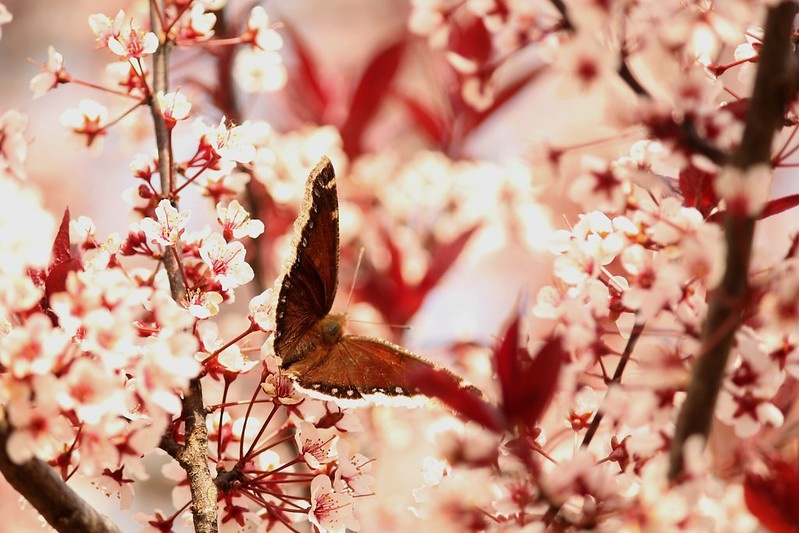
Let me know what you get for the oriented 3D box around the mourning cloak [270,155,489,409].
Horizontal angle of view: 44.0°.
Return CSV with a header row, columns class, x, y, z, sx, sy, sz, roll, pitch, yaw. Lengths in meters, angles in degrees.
class,x,y,z,sx,sy,sz,roll,pitch,yaw
mourning cloak,-0.140,0.131,2.439,0.243,0.765,0.433,-32,1,27
